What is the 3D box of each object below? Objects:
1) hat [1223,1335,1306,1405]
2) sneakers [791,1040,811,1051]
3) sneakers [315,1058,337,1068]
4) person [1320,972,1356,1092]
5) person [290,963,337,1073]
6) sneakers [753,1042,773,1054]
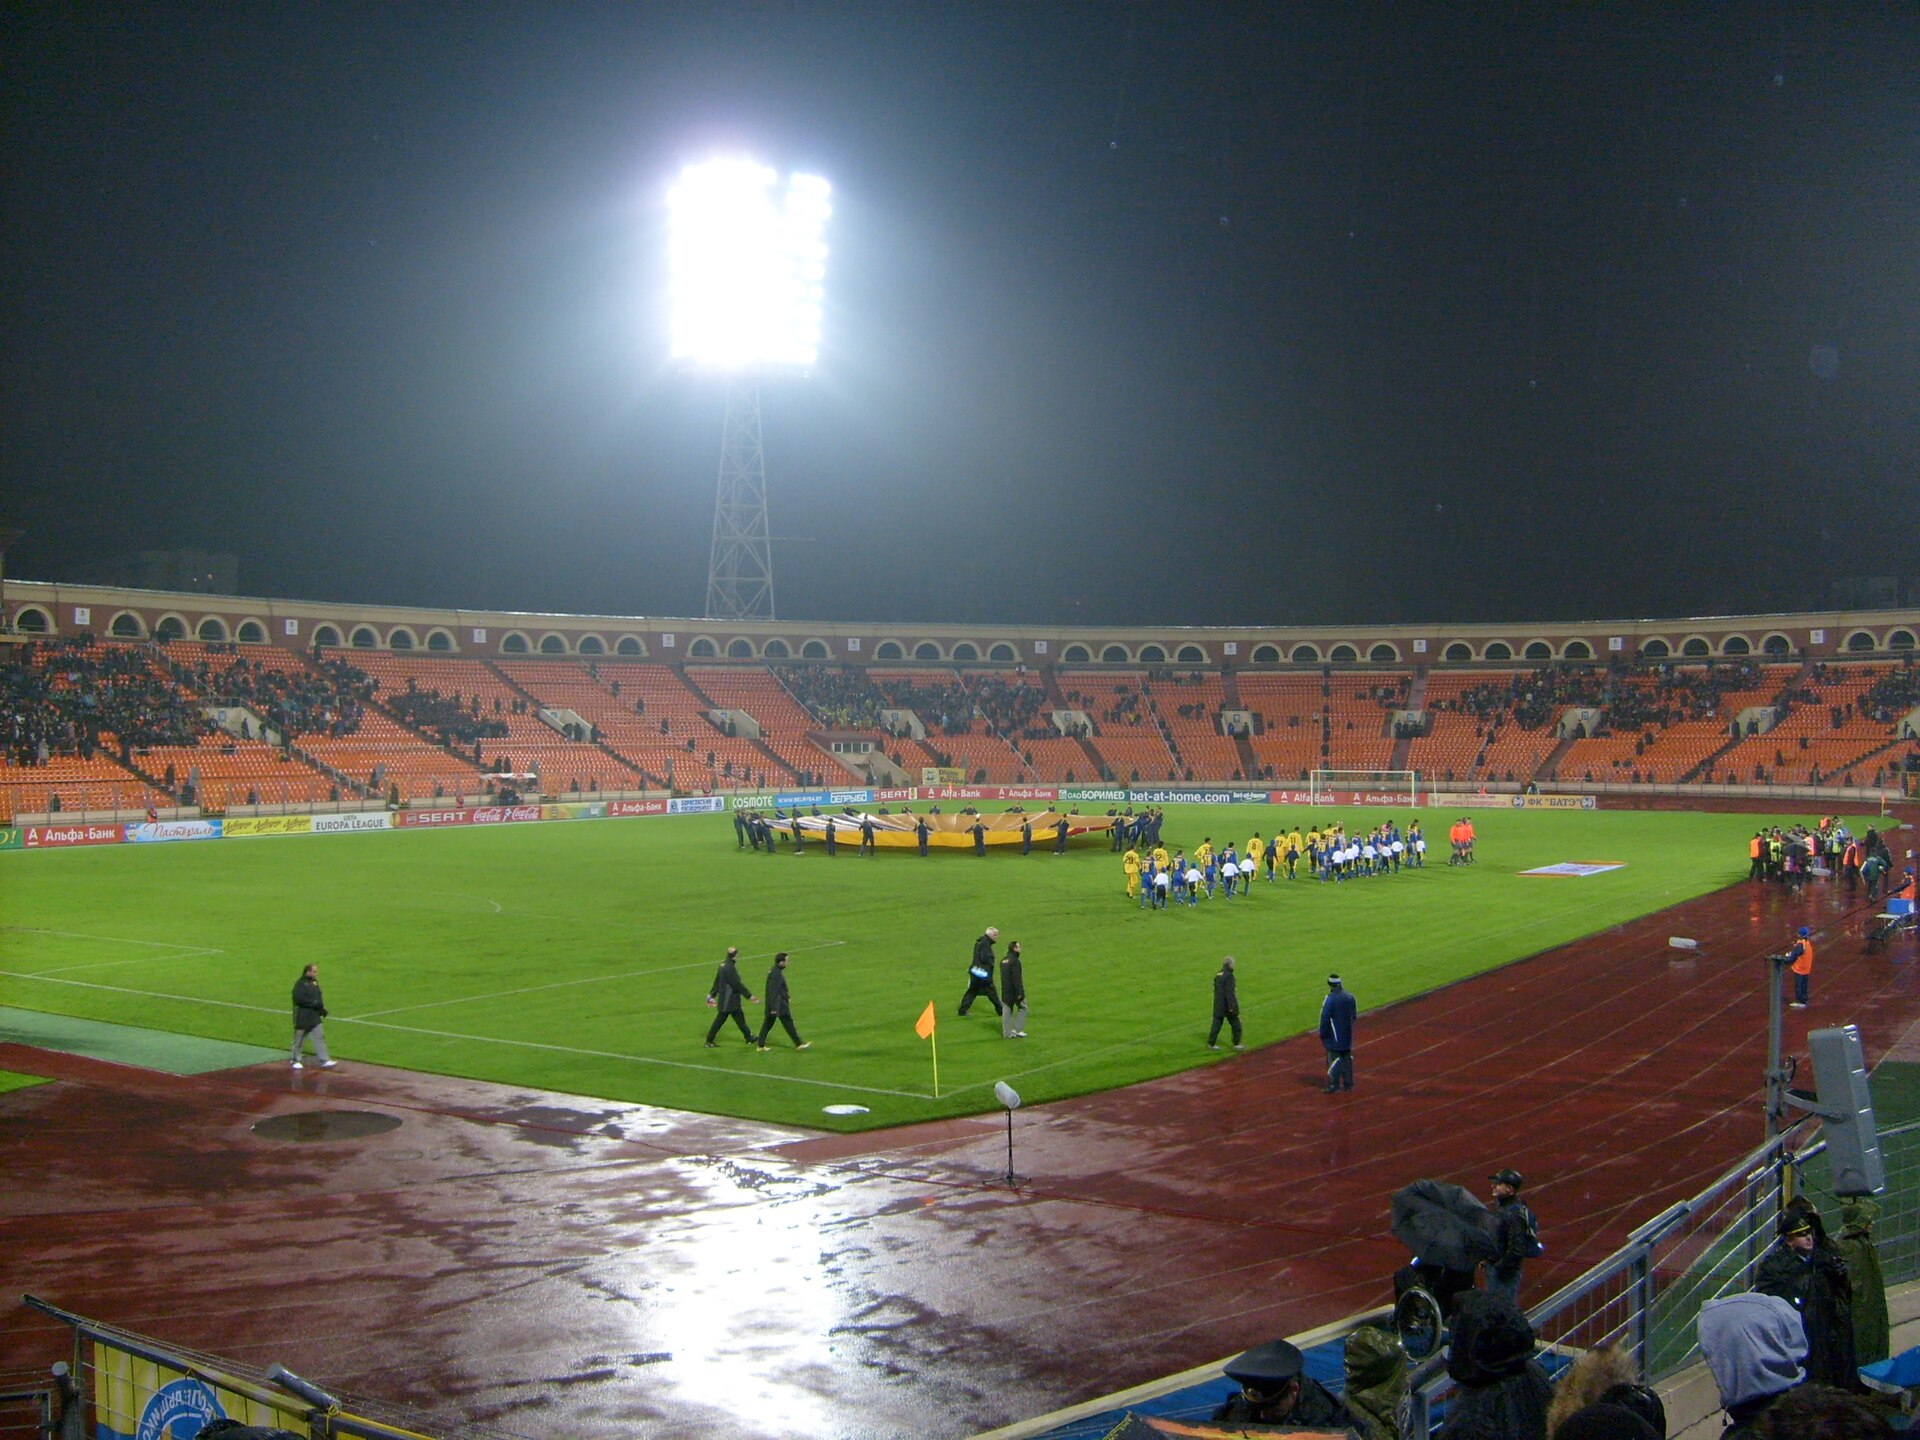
[{"bbox_3d":[1.748,3.718,9.086,0.412,0.294,0.350,-3,-14,6],"label":"hat"},{"bbox_3d":[-2.419,4.885,23.898,0.230,0.165,0.081,-35,9,22],"label":"sneakers"},{"bbox_3d":[-9.324,4.999,23.187,0.246,0.122,0.229,-8,-5,-32],"label":"sneakers"},{"bbox_3d":[5.174,4.253,21.737,0.437,1.564,2.197,-5,-14,12],"label":"person"},{"bbox_3d":[-9.604,4.433,23.413,0.560,1.403,1.740,4,-15,-21],"label":"person"},{"bbox_3d":[-2.950,4.874,23.758,0.117,0.177,0.270,10,14,34],"label":"sneakers"}]
